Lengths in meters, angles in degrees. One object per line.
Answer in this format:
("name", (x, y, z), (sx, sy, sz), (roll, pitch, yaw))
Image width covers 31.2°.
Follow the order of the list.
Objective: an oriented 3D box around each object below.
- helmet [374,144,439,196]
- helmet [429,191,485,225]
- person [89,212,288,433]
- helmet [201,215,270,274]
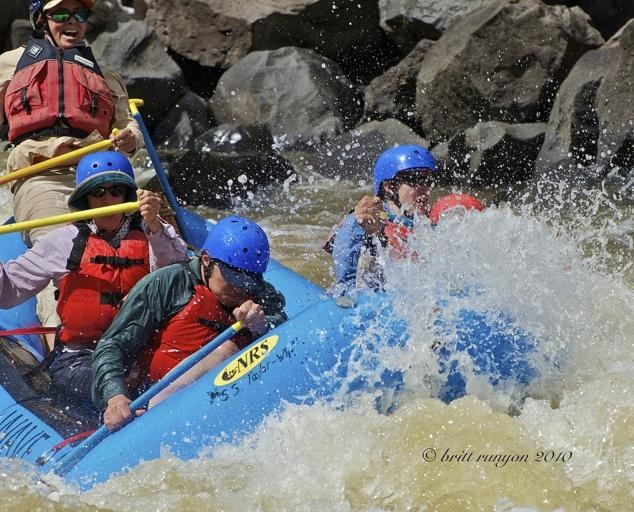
("helmet", (0.660, -0.660, 8.614), (0.422, 0.330, 0.347), (-5, 89, 38))
("helmet", (1.011, -0.391, 8.382), (0.276, 0.266, 0.178), (180, 82, -68))
("person", (-0.933, 0.505, 7.881), (0.668, 0.845, 1.357), (29, 88, 43))
("helmet", (-0.567, -0.141, 8.053), (0.290, 0.336, 0.430), (-58, 34, 0))
